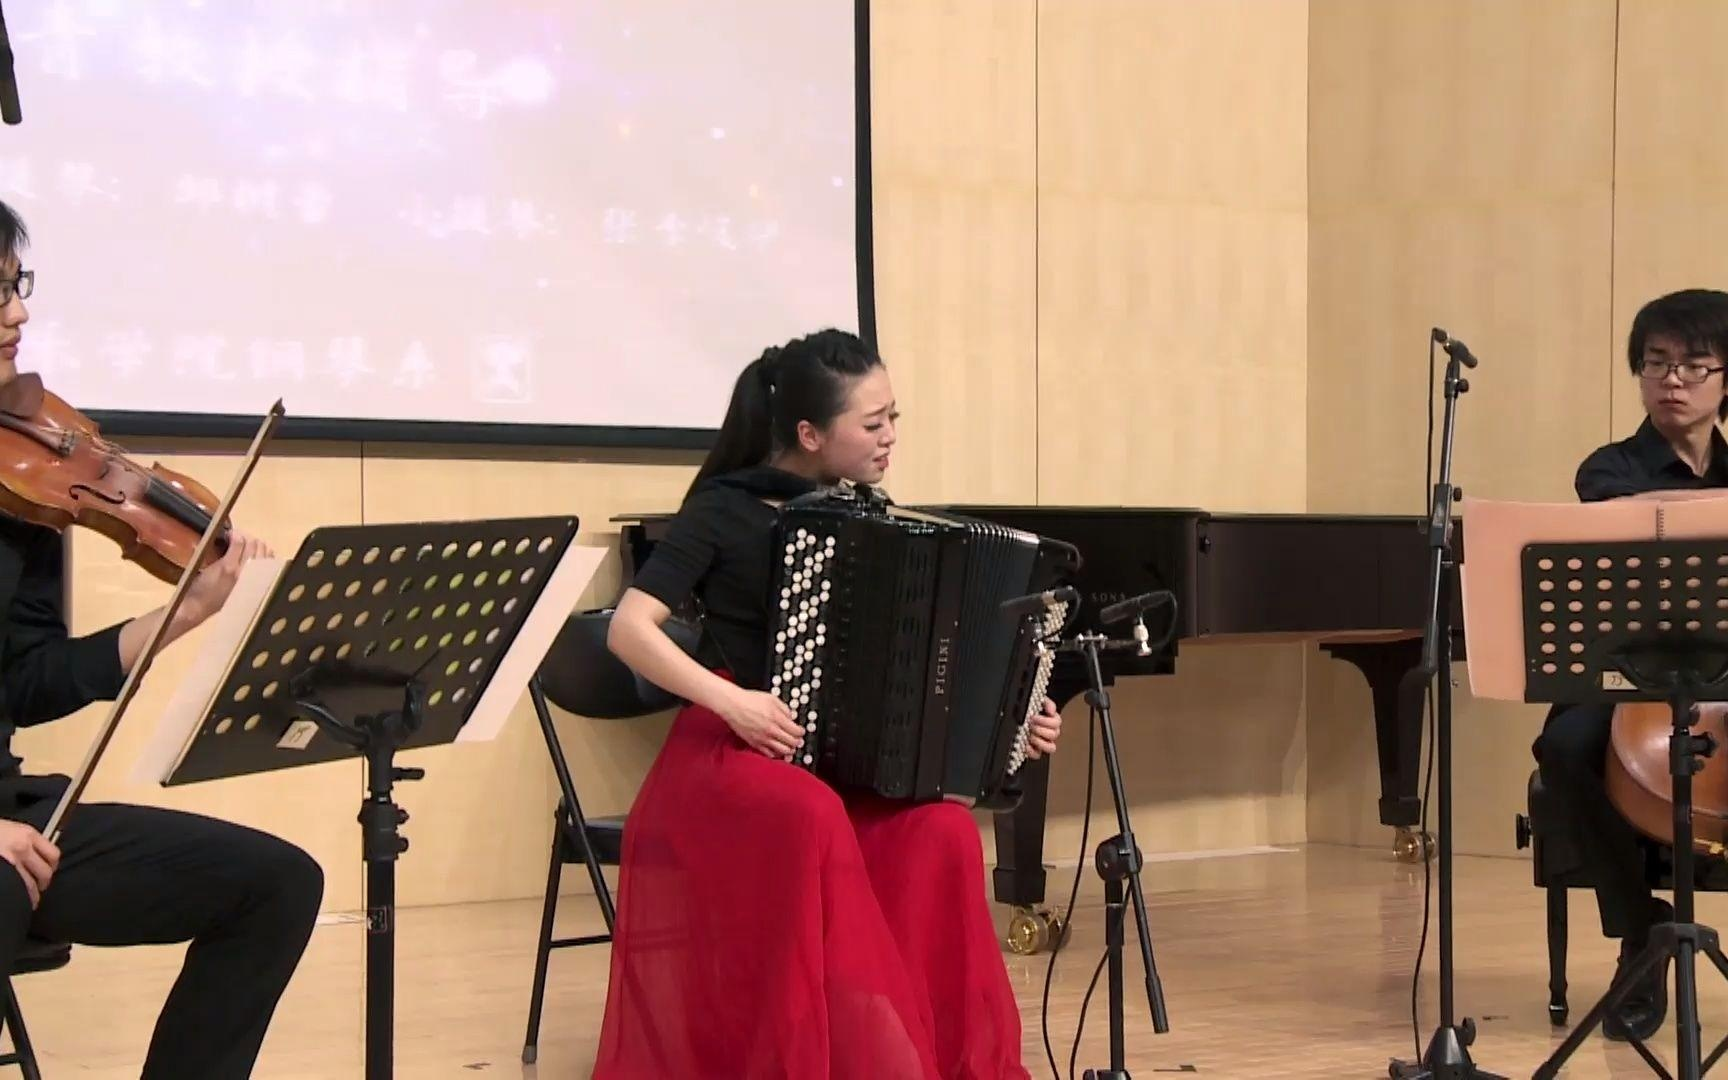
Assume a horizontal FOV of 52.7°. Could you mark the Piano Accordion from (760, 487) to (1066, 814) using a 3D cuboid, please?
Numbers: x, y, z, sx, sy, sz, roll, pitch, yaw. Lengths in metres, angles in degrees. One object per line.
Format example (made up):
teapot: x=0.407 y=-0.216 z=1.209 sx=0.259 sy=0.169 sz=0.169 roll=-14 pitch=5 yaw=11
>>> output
Piano Accordion: x=0.139 y=0.187 z=4.550 sx=0.674 sy=0.877 sz=0.904 roll=8 pitch=-3 yaw=6

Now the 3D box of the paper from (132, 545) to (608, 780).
paper: x=-1.055 y=0.260 z=3.746 sx=0.905 sy=0.526 sz=0.337 roll=5 pitch=-8 yaw=-24

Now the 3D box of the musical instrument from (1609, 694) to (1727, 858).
musical instrument: x=2.164 y=0.639 z=4.706 sx=0.232 sy=0.399 sz=0.341 roll=1 pitch=-8 yaw=-4

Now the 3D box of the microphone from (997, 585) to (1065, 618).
microphone: x=0.419 y=0.143 z=4.148 sx=0.187 sy=0.067 sz=0.076 roll=5 pitch=-9 yaw=-25
